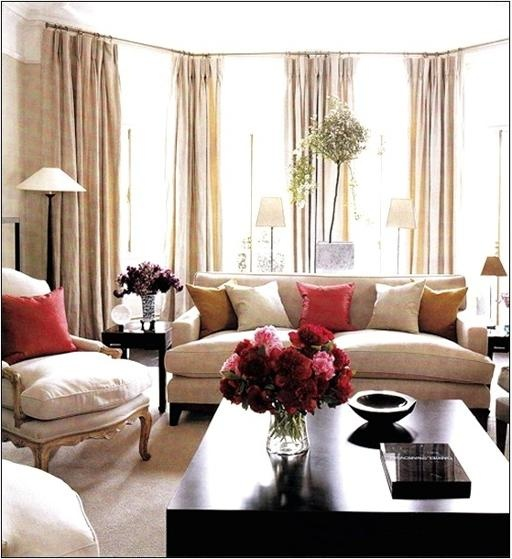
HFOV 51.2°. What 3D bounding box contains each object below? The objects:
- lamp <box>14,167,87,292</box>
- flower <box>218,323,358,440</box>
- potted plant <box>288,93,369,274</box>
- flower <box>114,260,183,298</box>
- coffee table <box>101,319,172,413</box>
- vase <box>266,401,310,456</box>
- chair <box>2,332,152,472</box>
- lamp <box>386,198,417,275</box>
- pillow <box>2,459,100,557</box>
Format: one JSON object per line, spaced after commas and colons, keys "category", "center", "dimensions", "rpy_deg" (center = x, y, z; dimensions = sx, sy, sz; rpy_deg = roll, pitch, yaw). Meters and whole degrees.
{"category": "lamp", "center": [-1.668, -0.419, 4.449], "dimensions": [0.522, 1.029, 0.590], "rpy_deg": [-4, 10, -25]}
{"category": "flower", "center": [0.098, 0.365, 1.799], "dimensions": [0.418, 0.434, 0.422], "rpy_deg": [-5, -7, -23]}
{"category": "potted plant", "center": [0.611, -0.838, 4.798], "dimensions": [0.724, 1.600, 1.542], "rpy_deg": [1, 9, 11]}
{"category": "flower", "center": [-0.670, 0.020, 3.515], "dimensions": [0.270, 0.207, 0.308], "rpy_deg": [1, -4, 5]}
{"category": "coffee table", "center": [-0.735, 0.640, 3.332], "dimensions": [0.375, 0.549, 0.649], "rpy_deg": [0, 1, 3]}
{"category": "vase", "center": [0.104, 0.484, 1.777], "dimensions": [0.140, 0.246, 0.143], "rpy_deg": [0, -8, 1]}
{"category": "chair", "center": [-0.824, 0.492, 2.433], "dimensions": [0.561, 0.606, 0.462], "rpy_deg": [-5, -6, 42]}
{"category": "lamp", "center": [1.336, -0.322, 4.991], "dimensions": [0.230, 1.200, 0.224], "rpy_deg": [1, 45, 13]}
{"category": "pillow", "center": [-0.573, 0.633, 1.440], "dimensions": [0.226, 0.151, 0.321], "rpy_deg": [-6, 11, -32]}
